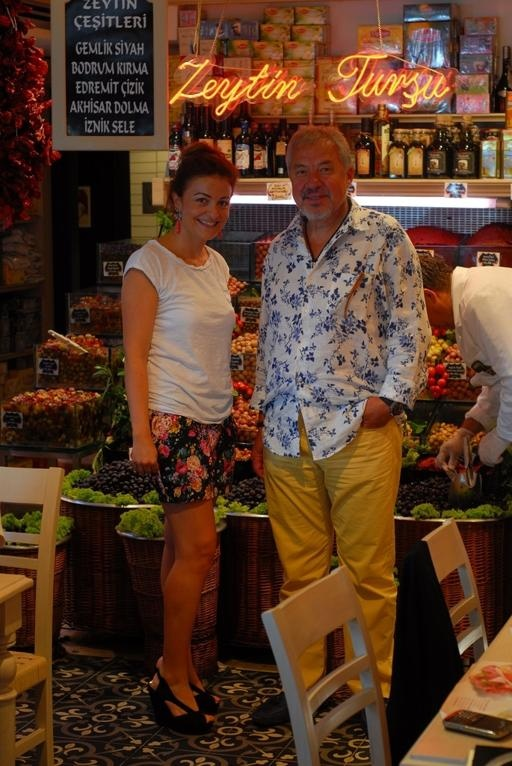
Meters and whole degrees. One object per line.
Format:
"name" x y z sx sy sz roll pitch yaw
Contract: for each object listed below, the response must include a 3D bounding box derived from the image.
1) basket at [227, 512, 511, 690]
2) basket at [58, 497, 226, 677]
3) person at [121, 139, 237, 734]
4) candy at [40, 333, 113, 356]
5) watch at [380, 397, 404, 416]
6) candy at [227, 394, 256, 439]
"basket" 0.499 0.879 2.965 1.238 0.519 0.777 0 -1 16
"basket" -0.527 0.908 3.007 0.704 0.514 0.766 -1 -8 8
"person" -0.261 0.201 2.234 0.415 2.093 0.296 0 0 -21
"candy" -1.156 -0.243 4.098 0.398 0.164 0.478 0 0 -30
"watch" 0.437 0.068 2.049 0.064 0.060 0.061 12 9 16
"candy" -0.075 0.183 3.327 0.185 0.199 0.072 -1 0 21
